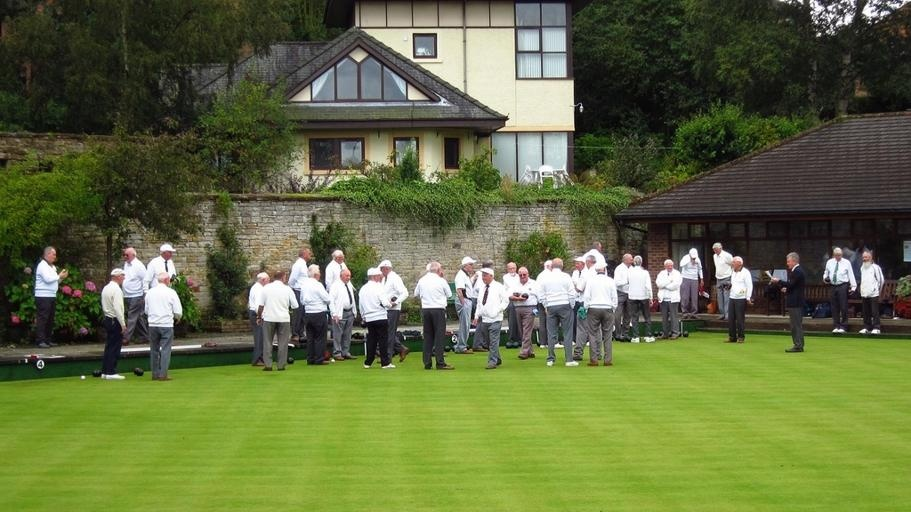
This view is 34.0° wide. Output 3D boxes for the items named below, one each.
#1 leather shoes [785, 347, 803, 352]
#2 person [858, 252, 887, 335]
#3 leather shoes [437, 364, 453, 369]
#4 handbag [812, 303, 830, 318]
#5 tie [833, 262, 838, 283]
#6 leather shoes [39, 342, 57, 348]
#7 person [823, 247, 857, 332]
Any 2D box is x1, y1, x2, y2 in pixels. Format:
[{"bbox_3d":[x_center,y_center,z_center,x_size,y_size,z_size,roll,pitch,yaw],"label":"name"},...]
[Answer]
[{"bbox_3d":[12.529,3.459,55.166,0.671,0.229,0.213,2,1,11],"label":"leather shoes"},{"bbox_3d":[16.085,1.426,57.781,0.837,3.245,1.142,-1,-4,7],"label":"person"},{"bbox_3d":[-0.410,3.946,53.069,0.536,0.180,0.195,-1,-3,-4],"label":"leather shoes"},{"bbox_3d":[14.984,2.262,61.141,0.674,0.561,0.605,2,4,29],"label":"handbag"},{"bbox_3d":[14.770,0.684,57.918,0.260,0.751,0.240,-2,-4,17],"label":"tie"},{"bbox_3d":[-15.082,3.267,54.830,0.614,0.224,0.192,-1,1,1],"label":"leather shoes"},{"bbox_3d":[14.917,1.345,58.396,1.091,3.380,1.171,1,1,32],"label":"person"}]
